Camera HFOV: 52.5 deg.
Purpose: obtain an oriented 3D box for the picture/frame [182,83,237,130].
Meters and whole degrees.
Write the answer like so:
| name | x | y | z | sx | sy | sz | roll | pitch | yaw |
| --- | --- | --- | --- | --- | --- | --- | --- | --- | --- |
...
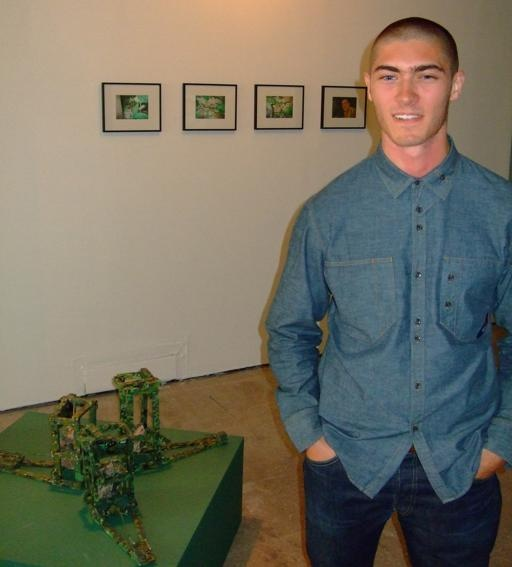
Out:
| name | x | y | z | sx | sy | sz | roll | pitch | yaw |
| --- | --- | --- | --- | --- | --- | --- | --- | --- | --- |
| picture/frame | -0.360 | -1.325 | 3.841 | 0.442 | 0.306 | 0.017 | -1 | 5 | -26 |

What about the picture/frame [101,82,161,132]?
| name | x | y | z | sx | sy | sz | roll | pitch | yaw |
| --- | --- | --- | --- | --- | --- | --- | --- | --- | --- |
| picture/frame | -0.879 | -1.235 | 3.588 | 0.419 | 0.296 | 0.015 | -4 | 12 | -23 |
